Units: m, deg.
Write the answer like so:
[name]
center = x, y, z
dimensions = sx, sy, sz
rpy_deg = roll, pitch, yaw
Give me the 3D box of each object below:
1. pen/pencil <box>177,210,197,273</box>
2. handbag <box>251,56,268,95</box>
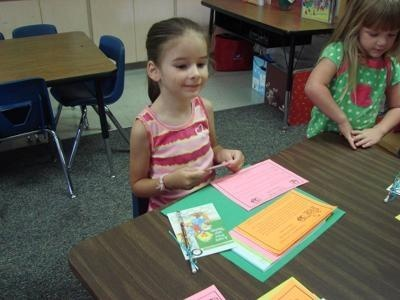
[pen/pencil]
center = -0.045, 0.267, 0.873
dimensions = 0.028, 0.026, 0.211
rpy_deg = -30, 41, 13
[handbag]
center = 0.731, -0.912, 3.665
dimensions = 0.140, 0.400, 0.407
rpy_deg = -13, 36, -11
